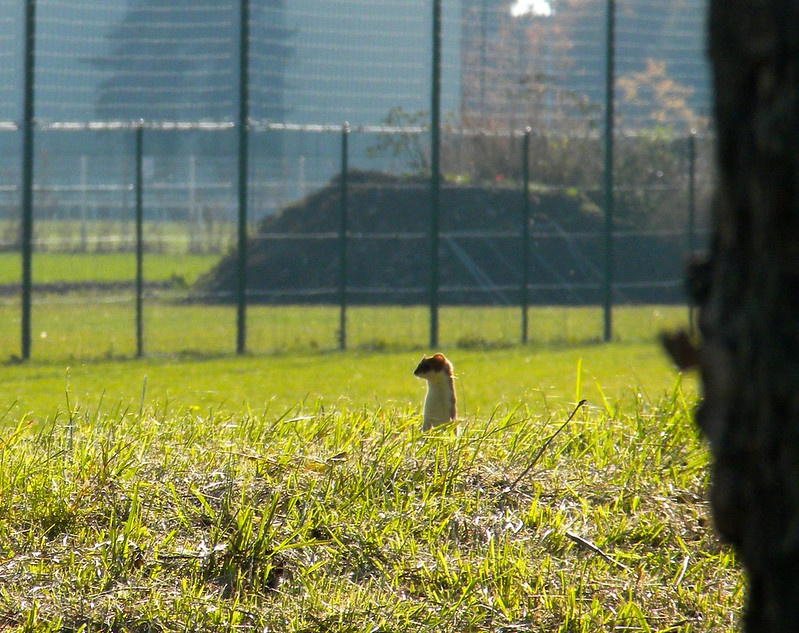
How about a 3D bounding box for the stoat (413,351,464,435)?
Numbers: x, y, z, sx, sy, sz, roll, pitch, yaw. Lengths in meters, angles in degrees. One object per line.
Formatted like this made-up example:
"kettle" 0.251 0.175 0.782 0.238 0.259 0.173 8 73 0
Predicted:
"stoat" 0.247 0.529 12.492 0.280 0.513 0.332 -2 11 0
